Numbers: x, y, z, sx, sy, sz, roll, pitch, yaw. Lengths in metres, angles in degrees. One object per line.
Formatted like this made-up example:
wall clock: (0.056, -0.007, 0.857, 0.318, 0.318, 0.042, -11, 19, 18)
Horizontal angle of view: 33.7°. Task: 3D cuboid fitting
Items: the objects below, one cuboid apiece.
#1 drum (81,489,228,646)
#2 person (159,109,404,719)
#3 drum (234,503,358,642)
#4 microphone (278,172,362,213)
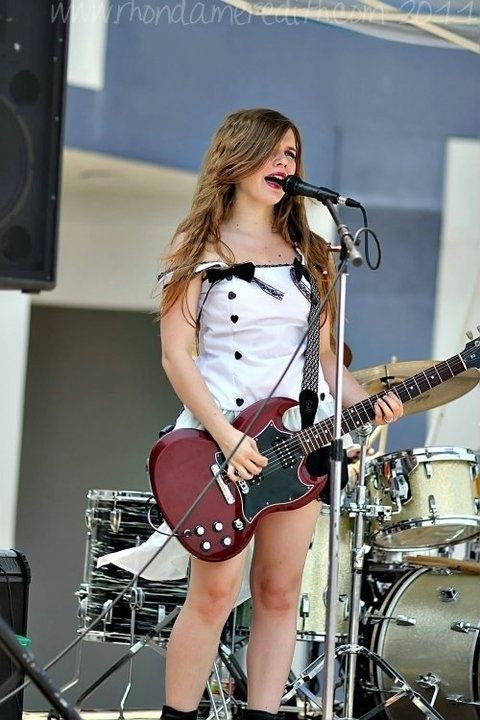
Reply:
drum: (-0.301, 0.637, 2.670, 0.395, 0.527, 0.367, 4, -4, 0)
person: (0.046, 0.036, 1.969, 0.626, 1.418, 0.601, 2, -1, -28)
drum: (0.154, 0.616, 2.616, 0.397, 0.464, 0.348, 0, 3, -22)
microphone: (0.170, -0.373, 1.770, 0.158, 0.075, 0.253, 5, 4, -5)
